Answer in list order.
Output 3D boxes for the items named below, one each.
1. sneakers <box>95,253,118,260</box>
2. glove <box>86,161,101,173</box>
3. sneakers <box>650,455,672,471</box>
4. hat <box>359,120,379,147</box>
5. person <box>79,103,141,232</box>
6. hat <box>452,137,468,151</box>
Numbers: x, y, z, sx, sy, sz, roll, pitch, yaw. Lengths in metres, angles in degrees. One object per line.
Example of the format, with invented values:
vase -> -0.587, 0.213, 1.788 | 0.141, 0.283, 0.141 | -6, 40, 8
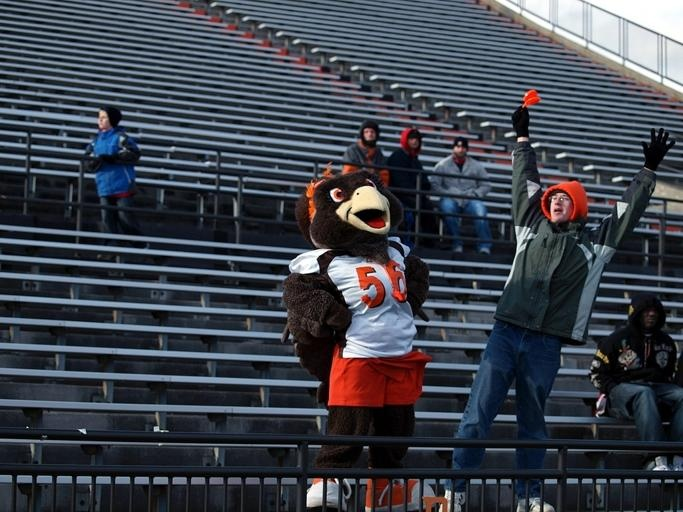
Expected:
sneakers -> -2.643, 0.027, 28.795 | 0.243, 0.061, 0.199 | 3, -8, 2
glove -> -2.828, -1.048, 29.078 | 0.144, 0.160, 0.180 | 1, 16, -11
sneakers -> 3.569, 2.341, 27.203 | 0.210, 0.227, 0.081 | 1, -46, 11
hat -> 0.412, -1.469, 29.708 | 0.218, 0.327, 0.300 | 5, -9, -1
person -> -2.580, -1.002, 29.124 | 0.710, 1.541, 0.529 | 3, -10, 13
hat -> 1.563, -1.395, 30.522 | 0.203, 0.192, 0.249 | 10, -21, 4
